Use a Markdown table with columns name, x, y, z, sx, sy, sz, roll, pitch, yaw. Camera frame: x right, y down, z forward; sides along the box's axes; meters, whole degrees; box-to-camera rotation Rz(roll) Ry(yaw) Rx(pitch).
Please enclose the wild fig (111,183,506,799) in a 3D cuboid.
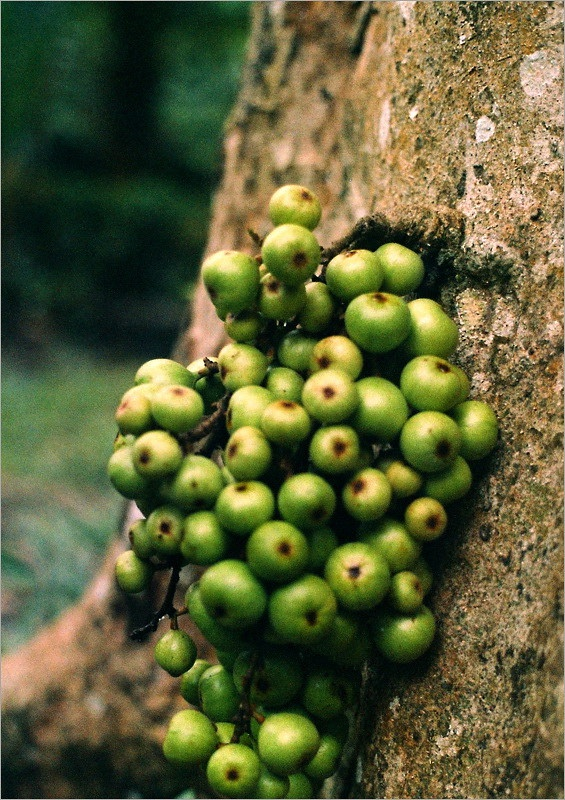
| name | x | y | z | sx | sy | sz | roll | pitch | yaw |
| --- | --- | --- | --- | --- | --- | --- | --- | --- | --- |
| wild fig | 0.030 | 0.260 | 3.997 | 1.198 | 1.908 | 0.809 | 23 | 24 | 37 |
